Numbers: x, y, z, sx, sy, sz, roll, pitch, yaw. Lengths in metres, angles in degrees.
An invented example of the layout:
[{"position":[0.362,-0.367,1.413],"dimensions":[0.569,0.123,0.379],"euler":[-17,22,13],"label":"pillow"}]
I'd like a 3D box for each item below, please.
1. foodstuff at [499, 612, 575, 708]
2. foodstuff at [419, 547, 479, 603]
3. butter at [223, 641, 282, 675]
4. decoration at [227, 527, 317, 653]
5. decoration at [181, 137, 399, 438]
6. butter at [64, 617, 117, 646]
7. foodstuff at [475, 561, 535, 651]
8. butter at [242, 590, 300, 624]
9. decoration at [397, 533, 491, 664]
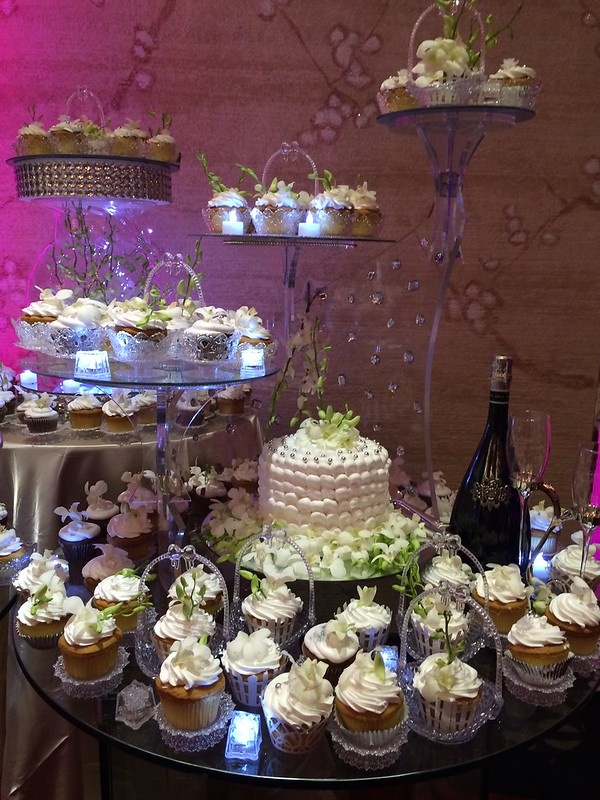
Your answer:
[{"position":[0.481,0.506,1.398],"dimensions":[0.156,0.163,0.140],"euler":[-15,17,-23],"label":"foodstuff"},{"position":[0.326,0.394,1.524],"dimensions":[0.108,0.088,0.100],"euler":[-3,11,-17],"label":"foodstuff"},{"position":[-0.092,0.490,1.275],"dimensions":[0.072,0.023,0.068],"euler":[1,11,-1],"label":"butter"},{"position":[-0.055,0.427,1.494],"dimensions":[0.224,0.298,0.217],"euler":[0,26,1],"label":"decoration"},{"position":[-0.043,-0.503,2.641],"dimensions":[1.091,1.034,1.013],"euler":[-3,27,-6],"label":"decoration"},{"position":[-0.413,0.451,1.349],"dimensions":[0.058,0.021,0.058],"euler":[8,13,16],"label":"butter"},{"position":[0.486,0.465,1.546],"dimensions":[0.119,0.119,0.115],"euler":[-14,-10,21],"label":"foodstuff"},{"position":[-0.060,0.433,1.420],"dimensions":[0.078,0.024,0.072],"euler":[-5,18,-18],"label":"butter"},{"position":[0.298,0.474,1.437],"dimensions":[0.110,0.146,0.114],"euler":[8,-21,43],"label":"decoration"}]
